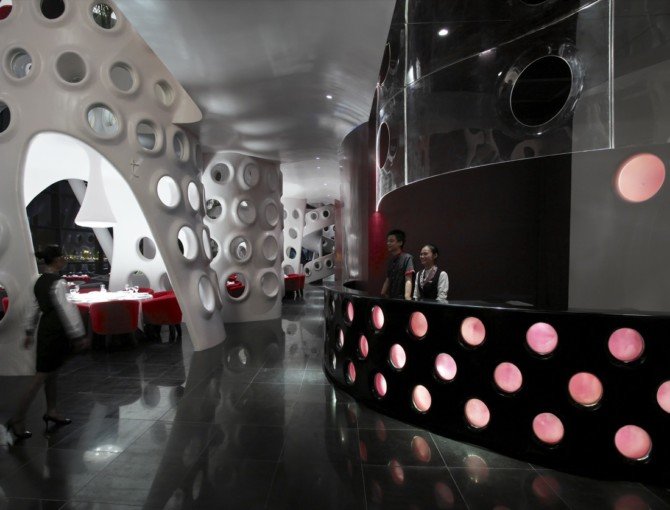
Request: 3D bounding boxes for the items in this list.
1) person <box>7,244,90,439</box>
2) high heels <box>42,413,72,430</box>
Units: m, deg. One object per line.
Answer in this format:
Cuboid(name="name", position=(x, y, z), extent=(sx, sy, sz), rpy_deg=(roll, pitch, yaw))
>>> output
Cuboid(name="person", position=(-3.121, 0.833, 4.648), extent=(0.782, 1.839, 0.801), rpy_deg=(-8, 12, -35))
Cuboid(name="high heels", position=(-2.873, 1.719, 4.613), extent=(0.340, 0.205, 0.113), rpy_deg=(-1, -5, -5))
